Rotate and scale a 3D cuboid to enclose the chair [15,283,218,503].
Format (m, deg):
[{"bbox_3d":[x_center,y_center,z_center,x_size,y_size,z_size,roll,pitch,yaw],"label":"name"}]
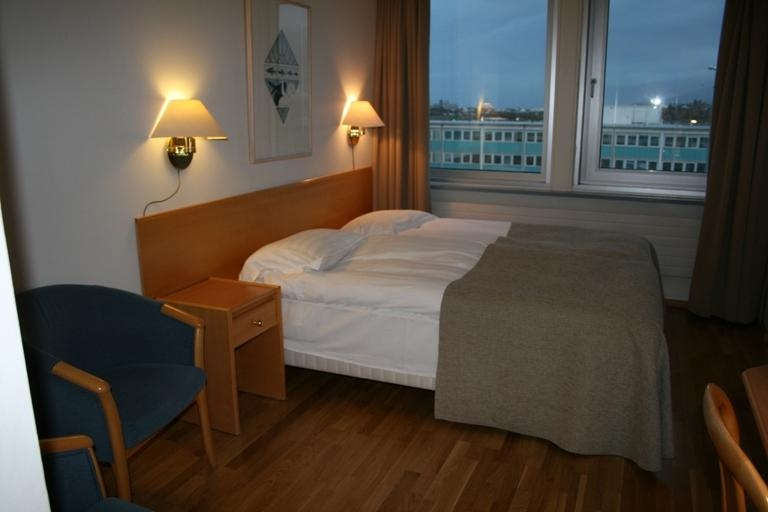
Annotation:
[{"bbox_3d":[-1.409,0.716,2.811,0.743,1.038,0.786,4,19,5],"label":"chair"}]

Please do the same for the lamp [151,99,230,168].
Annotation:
[{"bbox_3d":[-1.238,-0.795,3.466,0.394,0.485,0.483,9,17,36],"label":"lamp"}]

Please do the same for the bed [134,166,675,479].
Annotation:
[{"bbox_3d":[0.512,0.354,3.714,2.179,0.967,2.364,2,17,23],"label":"bed"}]

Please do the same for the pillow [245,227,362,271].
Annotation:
[{"bbox_3d":[-0.528,-0.053,3.999,0.384,0.127,0.501,1,15,32],"label":"pillow"}]

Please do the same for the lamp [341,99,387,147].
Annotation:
[{"bbox_3d":[-0.190,-1.262,5.227,0.451,0.484,0.392,-20,33,-33],"label":"lamp"}]
